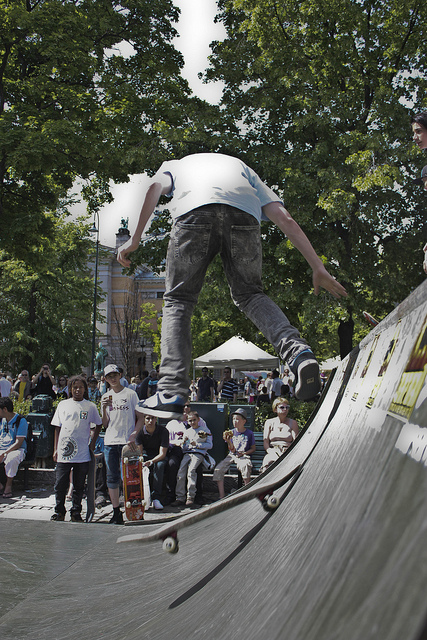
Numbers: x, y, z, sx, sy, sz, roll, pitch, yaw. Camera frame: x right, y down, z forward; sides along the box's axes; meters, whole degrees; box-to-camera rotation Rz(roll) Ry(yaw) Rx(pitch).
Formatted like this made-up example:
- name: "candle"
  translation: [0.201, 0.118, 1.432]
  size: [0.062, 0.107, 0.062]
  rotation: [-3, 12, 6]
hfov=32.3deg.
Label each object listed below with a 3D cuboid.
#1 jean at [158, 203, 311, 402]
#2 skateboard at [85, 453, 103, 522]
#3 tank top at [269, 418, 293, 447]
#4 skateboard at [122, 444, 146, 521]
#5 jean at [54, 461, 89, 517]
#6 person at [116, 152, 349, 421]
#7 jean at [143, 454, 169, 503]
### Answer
- name: "jean"
  translation: [0.069, -0.081, 2.993]
  size: [0.536, 0.800, 0.447]
  rotation: [4, 4, -3]
- name: "skateboard"
  translation: [-1.163, 1.643, 7.179]
  size: [0.192, 0.655, 0.099]
  rotation: [3, -9, 0]
- name: "tank top"
  translation: [0.766, 1.320, 8.401]
  size: [0.264, 0.303, 0.419]
  rotation: [4, 4, 4]
- name: "skateboard"
  translation: [-0.770, 1.597, 7.083]
  size: [0.217, 0.769, 0.115]
  rotation: [0, 6, -9]
- name: "jean"
  translation: [-1.373, 1.595, 7.154]
  size: [0.320, 0.911, 0.216]
  rotation: [2, 27, -11]
- name: "person"
  translation: [0.046, -0.177, 3.169]
  size: [1.041, 1.171, 0.790]
  rotation: [5, 4, 13]
- name: "jean"
  translation: [-0.674, 1.917, 8.828]
  size: [0.391, 0.558, 0.392]
  rotation: [3, 1, -28]
